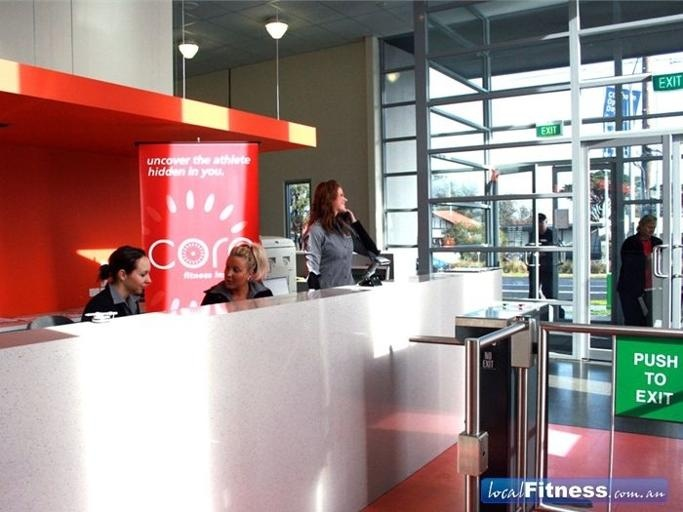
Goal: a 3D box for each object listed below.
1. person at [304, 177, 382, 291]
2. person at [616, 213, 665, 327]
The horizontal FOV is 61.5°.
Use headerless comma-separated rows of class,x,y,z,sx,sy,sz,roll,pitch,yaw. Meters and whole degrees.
person,-0.007,0.055,4.986,0.601,1.437,0.341,-4,28,-10
person,3.286,0.152,6.328,0.187,1.236,0.477,3,7,-11
